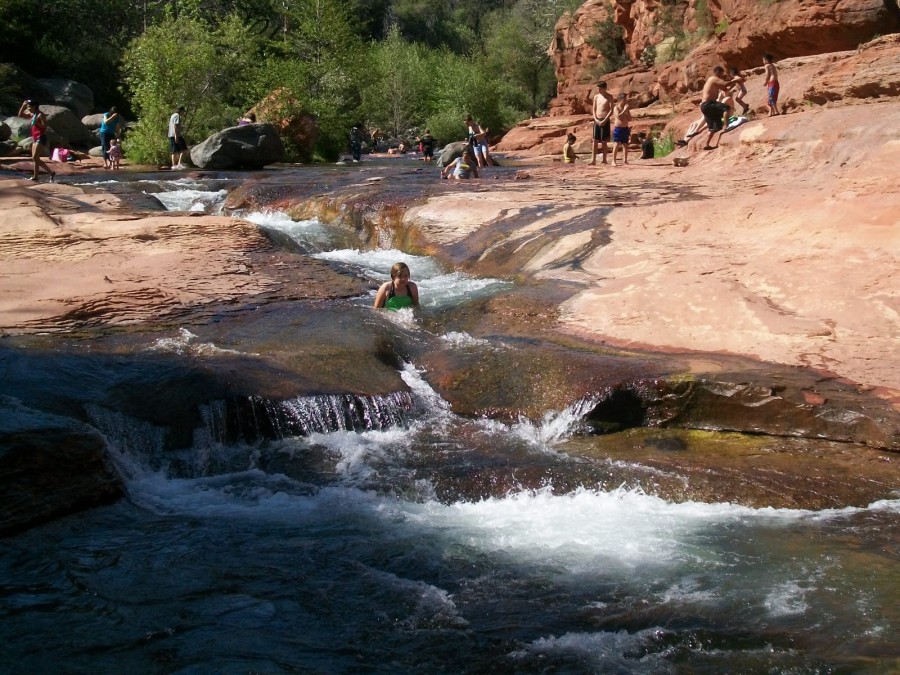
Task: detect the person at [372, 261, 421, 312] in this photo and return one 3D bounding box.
[{"bbox_3d":[-0.731,-0.673,10.020,0.655,0.622,0.311,-3,7,-17],"label":"person"}]

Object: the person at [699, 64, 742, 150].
[{"bbox_3d":[6.344,-5.375,17.752,0.992,1.699,0.759,5,22,10],"label":"person"}]
